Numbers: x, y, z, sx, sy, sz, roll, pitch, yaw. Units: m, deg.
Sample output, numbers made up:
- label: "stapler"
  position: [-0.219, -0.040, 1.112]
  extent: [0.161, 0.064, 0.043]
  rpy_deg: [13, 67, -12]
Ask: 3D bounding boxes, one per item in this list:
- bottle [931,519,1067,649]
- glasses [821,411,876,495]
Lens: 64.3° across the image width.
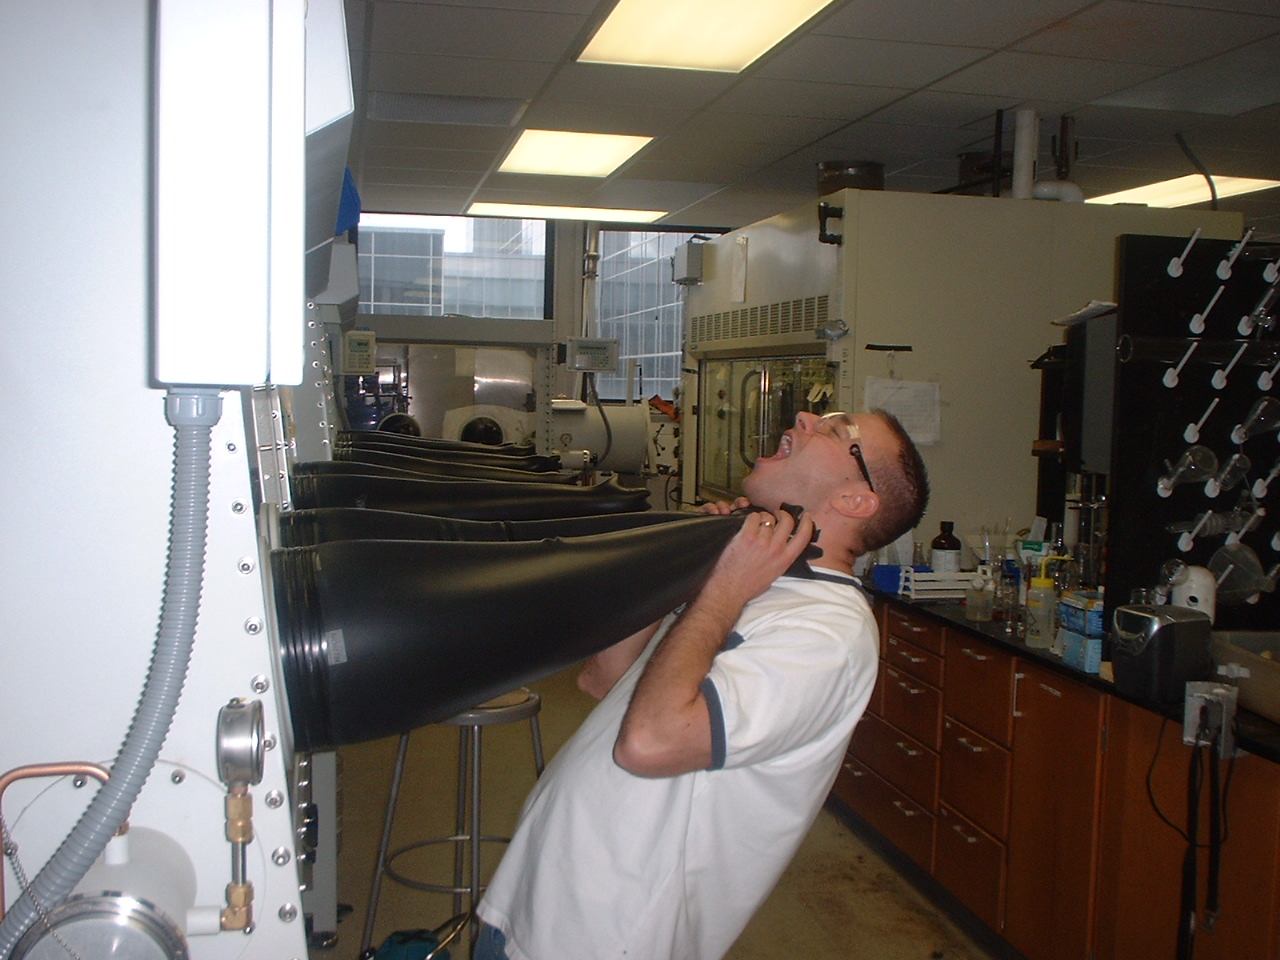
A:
- label: "bottle"
  position: [1.122, 0.316, 3.041]
  extent: [0.167, 0.251, 0.589]
  rpy_deg: [1, 0, 10]
- label: "glasses"
  position: [0.373, -0.046, 1.733]
  extent: [0.029, 0.116, 0.105]
  rpy_deg: [-13, -5, -25]
